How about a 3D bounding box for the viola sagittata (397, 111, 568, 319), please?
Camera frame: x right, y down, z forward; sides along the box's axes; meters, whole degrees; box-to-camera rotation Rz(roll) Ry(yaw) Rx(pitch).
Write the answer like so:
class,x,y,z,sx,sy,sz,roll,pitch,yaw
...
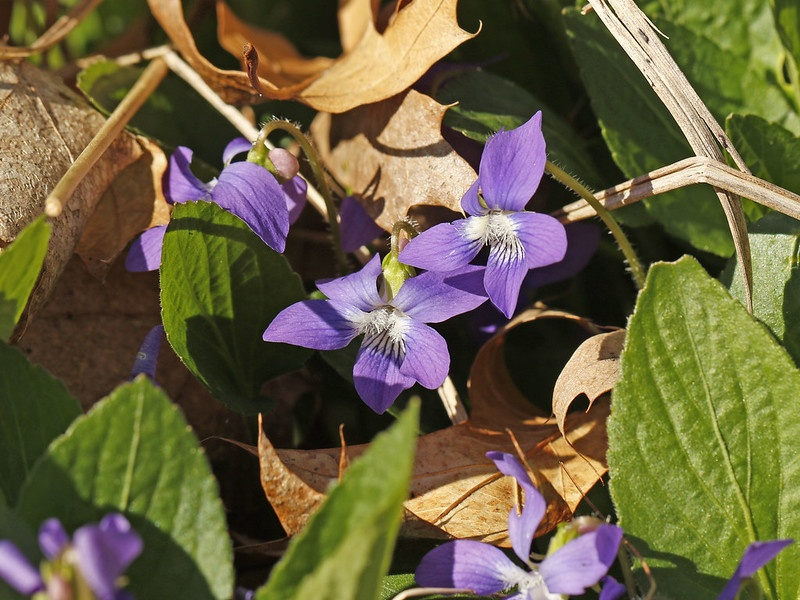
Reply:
class,x,y,z,sx,sy,sz,roll,pitch,yaw
viola sagittata,0.124,-0.100,1.353,0.102,0.217,0.252,-90,159,-72
